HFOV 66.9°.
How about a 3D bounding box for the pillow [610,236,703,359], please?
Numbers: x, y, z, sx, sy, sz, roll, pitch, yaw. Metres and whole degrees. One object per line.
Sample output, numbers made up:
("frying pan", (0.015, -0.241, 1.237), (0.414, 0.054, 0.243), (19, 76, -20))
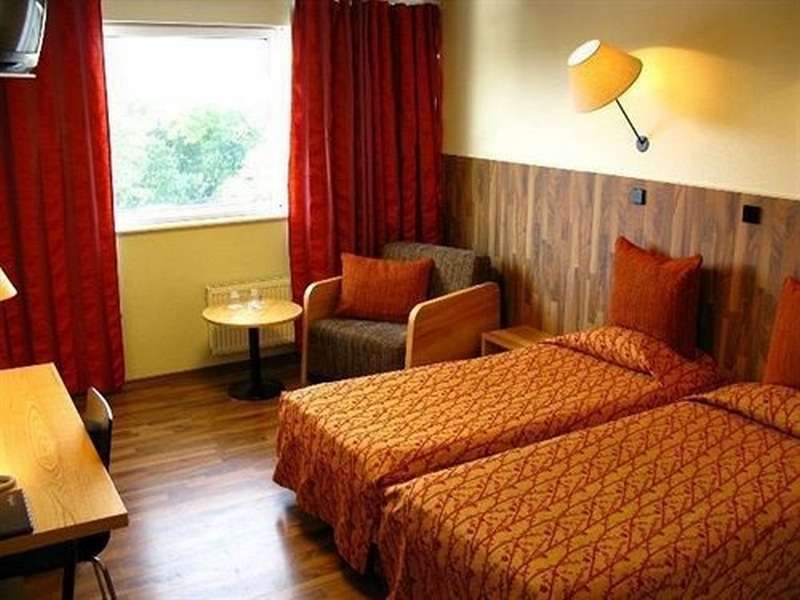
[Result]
("pillow", (1.404, -0.027, 3.365), (0.215, 0.538, 0.574), (-12, 23, -26))

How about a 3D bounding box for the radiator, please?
("radiator", (-1.163, 0.108, 4.519), (0.552, 0.417, 0.042), (-4, 11, -11))

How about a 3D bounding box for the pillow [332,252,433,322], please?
("pillow", (-0.124, -0.070, 4.360), (0.439, 0.165, 0.349), (3, 60, 7))

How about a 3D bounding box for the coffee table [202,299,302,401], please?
("coffee table", (-1.064, 0.376, 4.321), (0.620, 0.570, 0.650), (8, 14, 36))

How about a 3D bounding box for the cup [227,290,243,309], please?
("cup", (-1.193, 0.000, 4.363), (0.112, 0.139, 0.117), (3, 11, 0))

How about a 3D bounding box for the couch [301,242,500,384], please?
("couch", (0.000, 0.165, 4.541), (1.237, 1.081, 1.159), (8, 12, 44))

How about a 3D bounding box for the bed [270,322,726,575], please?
("bed", (0.573, 0.665, 3.277), (2.202, 0.764, 1.316), (-6, 10, -26))
